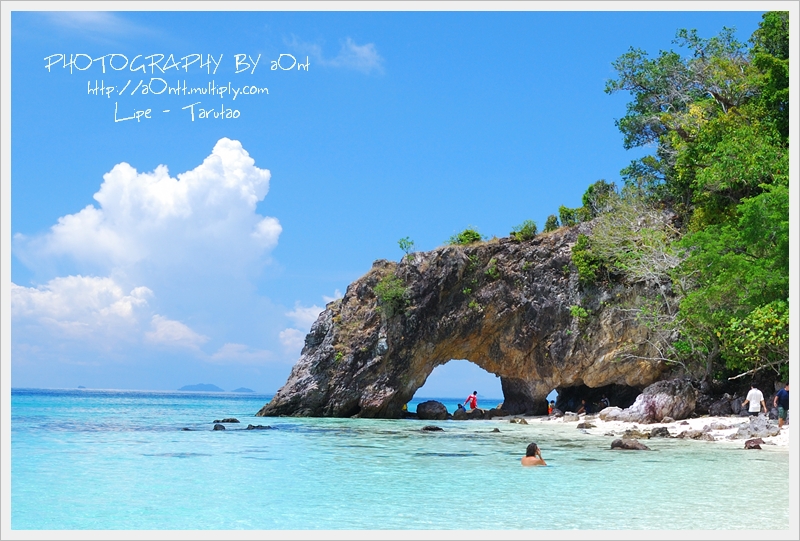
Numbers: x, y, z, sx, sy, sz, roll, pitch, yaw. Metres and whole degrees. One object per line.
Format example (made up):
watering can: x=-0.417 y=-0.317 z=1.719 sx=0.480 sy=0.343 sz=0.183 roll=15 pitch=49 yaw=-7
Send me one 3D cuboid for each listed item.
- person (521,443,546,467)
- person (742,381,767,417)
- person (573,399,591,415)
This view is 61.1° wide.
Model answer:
person: x=4.793 y=6.660 z=24.491 sx=0.889 sy=0.780 sz=0.524 roll=-4 pitch=-7 yaw=22
person: x=15.656 y=5.739 z=29.908 sx=0.586 sy=1.465 sz=3.675 roll=-4 pitch=-7 yaw=25
person: x=12.588 y=9.475 z=46.848 sx=1.233 sy=1.109 sz=1.922 roll=-6 pitch=-2 yaw=26
